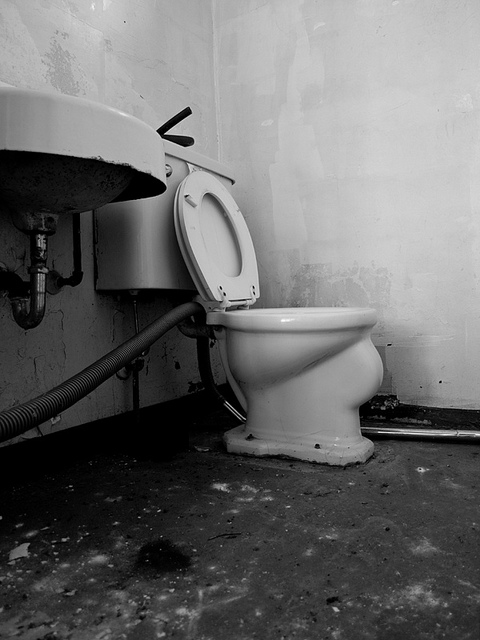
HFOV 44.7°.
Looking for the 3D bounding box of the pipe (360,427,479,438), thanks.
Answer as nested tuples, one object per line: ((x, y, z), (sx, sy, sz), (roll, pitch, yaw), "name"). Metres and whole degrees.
((0.487, 0.304, 1.589), (0.276, 0.036, 0.031), (0, -25, 13), "pipe")

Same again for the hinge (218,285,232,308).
((-0.035, -0.073, 1.528), (0.016, 0.036, 0.049), (-24, -11, 5), "hinge")

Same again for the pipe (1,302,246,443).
((-0.255, 0.099, 1.257), (0.197, 0.072, 0.590), (5, 9, 23), "pipe")

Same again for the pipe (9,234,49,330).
((-0.422, -0.076, 1.161), (0.075, 0.187, 0.084), (-3, 7, -22), "pipe")

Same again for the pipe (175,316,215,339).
((-0.120, 0.023, 1.573), (0.073, 0.074, 0.062), (-7, 30, 18), "pipe")

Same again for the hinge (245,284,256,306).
((0.039, -0.079, 1.716), (0.030, 0.051, 0.050), (-2, 3, -37), "hinge")

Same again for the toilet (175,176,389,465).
((0.129, -0.013, 1.864), (0.655, 1.046, 0.618), (-1, 1, 21), "toilet")
